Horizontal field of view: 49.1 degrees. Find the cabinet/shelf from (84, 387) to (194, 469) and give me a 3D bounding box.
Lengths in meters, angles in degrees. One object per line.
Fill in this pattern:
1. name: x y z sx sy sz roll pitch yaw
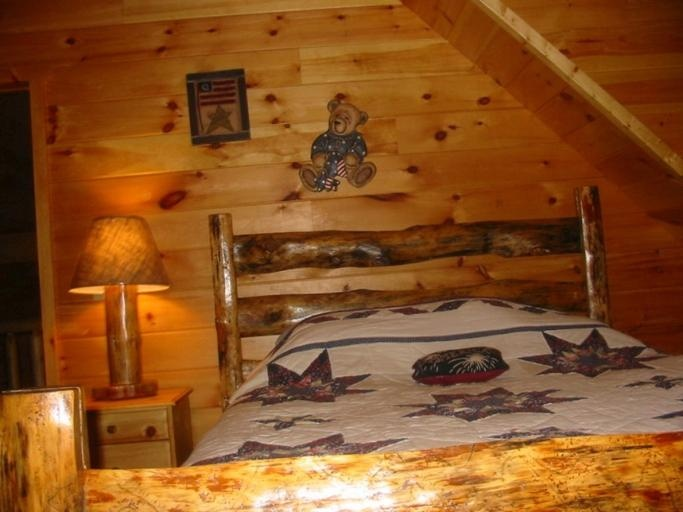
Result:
1. cabinet/shelf: -0.772 0.683 3.194 0.626 0.366 0.364 -1 -5 -7
